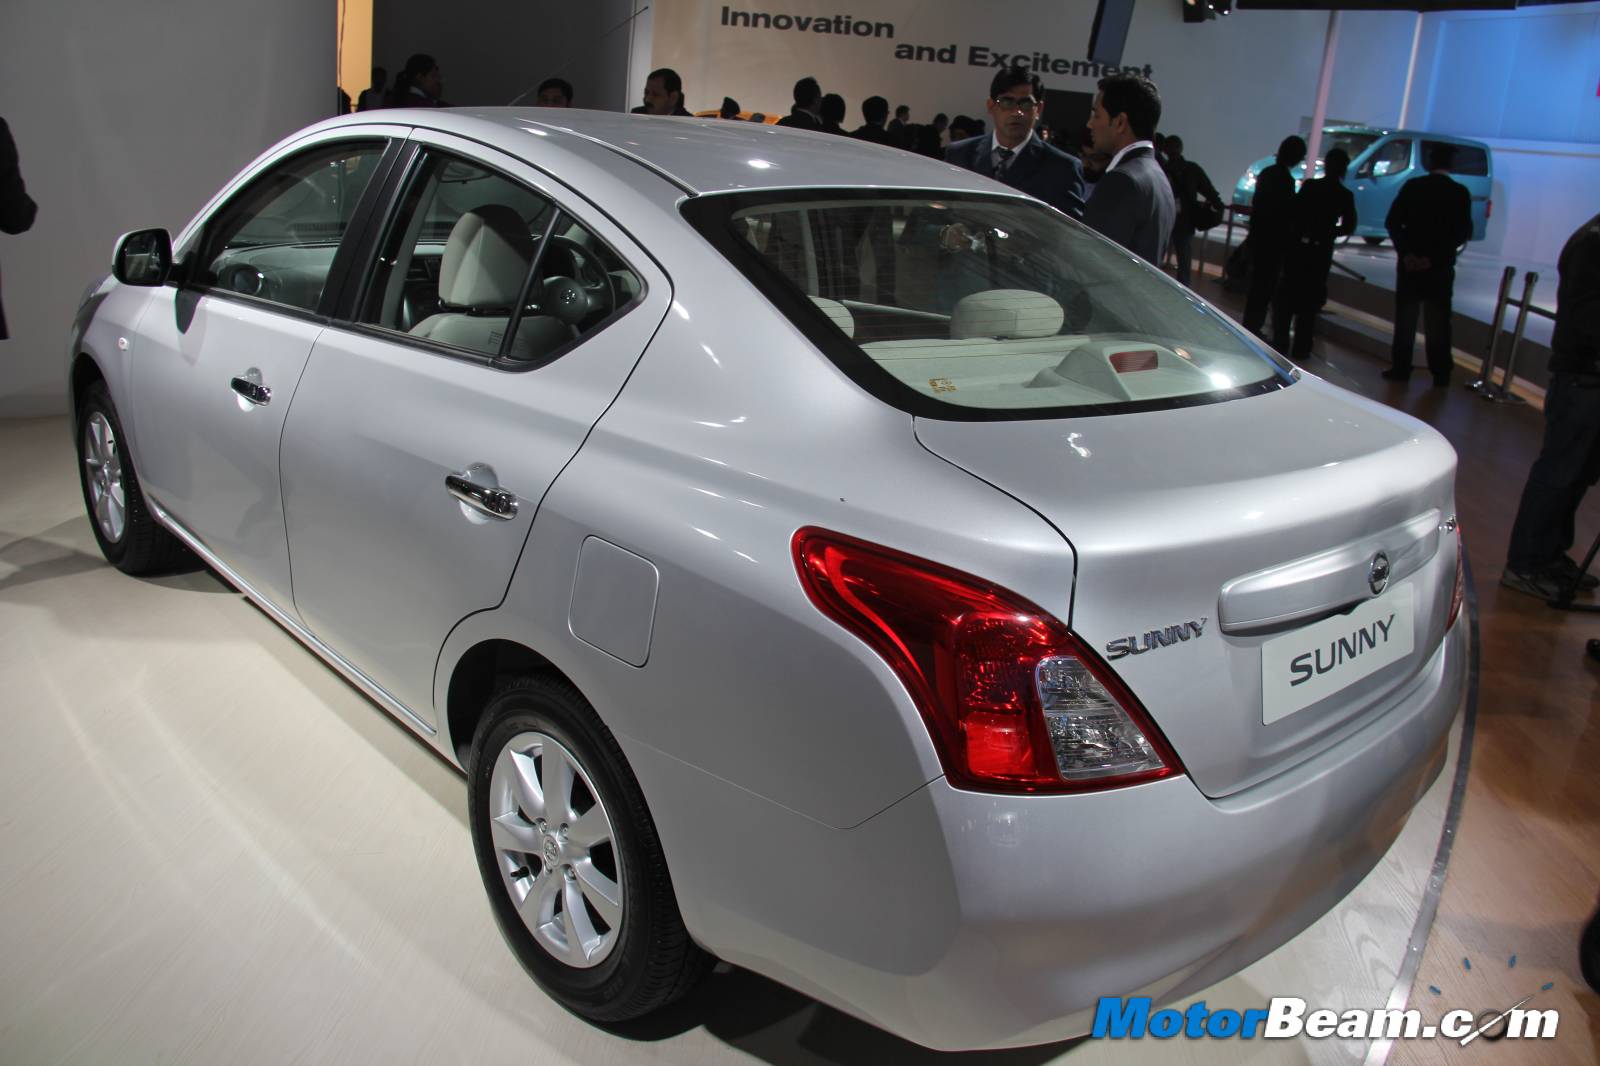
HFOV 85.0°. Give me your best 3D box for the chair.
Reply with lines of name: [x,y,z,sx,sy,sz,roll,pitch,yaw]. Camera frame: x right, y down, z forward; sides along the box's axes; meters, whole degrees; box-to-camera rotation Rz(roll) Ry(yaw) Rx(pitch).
chair: [-0.723,-0.599,2.086,0.273,0.369,0.421,9,55,-17]

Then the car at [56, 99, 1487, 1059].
car: [-0.543,-0.244,2.393,1.691,1.346,3.630,-14,31,-44]

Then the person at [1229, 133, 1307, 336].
person: [5.006,-3.306,9.347,0.723,1.870,0.732,7,1,-26]
